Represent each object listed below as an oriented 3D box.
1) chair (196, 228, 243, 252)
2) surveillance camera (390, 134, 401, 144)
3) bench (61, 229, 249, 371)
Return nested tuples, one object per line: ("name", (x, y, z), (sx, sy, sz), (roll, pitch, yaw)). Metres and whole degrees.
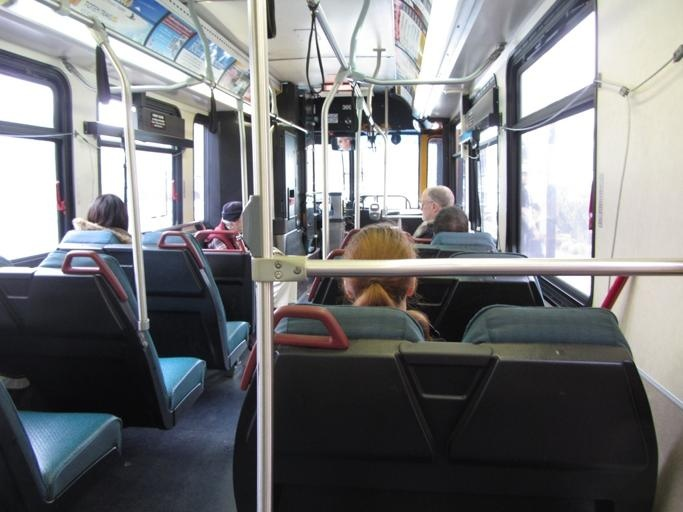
("chair", (-1.072, -0.140, 4.426), (0.315, 0.137, 0.257), (1, 7, 8))
("surveillance camera", (0.910, -1.954, 8.606), (0.168, 0.181, 0.287), (2, 8, 6))
("bench", (-1.149, 0.286, 3.616), (1.061, 1.134, 0.923), (2, 4, 14))
